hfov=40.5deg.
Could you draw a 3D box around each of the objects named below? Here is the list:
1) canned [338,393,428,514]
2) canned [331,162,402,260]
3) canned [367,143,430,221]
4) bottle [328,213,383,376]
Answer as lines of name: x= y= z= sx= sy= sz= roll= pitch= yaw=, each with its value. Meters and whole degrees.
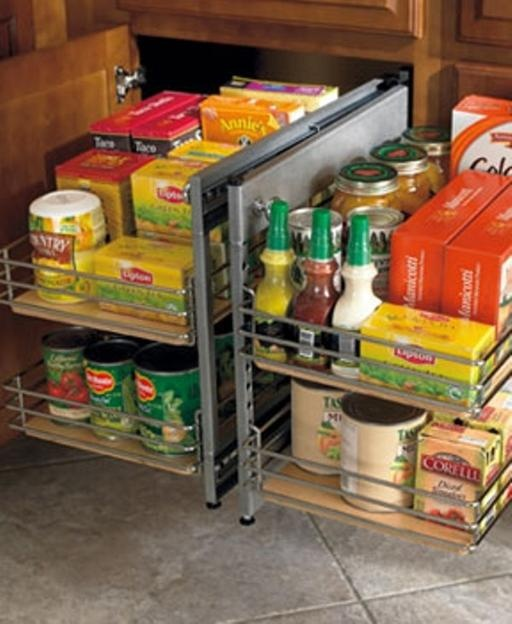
canned: x=0.171 y=0.191 z=0.968 sx=0.123 sy=0.107 sz=0.109 roll=0 pitch=11 yaw=-2
canned: x=0.139 y=-0.149 z=1.013 sx=0.124 sy=0.100 sz=0.112 roll=-1 pitch=32 yaw=3
canned: x=0.229 y=-0.200 z=1.087 sx=0.096 sy=0.103 sz=0.081 roll=-2 pitch=43 yaw=11
bottle: x=0.111 y=-0.021 z=0.862 sx=0.080 sy=0.179 sz=0.061 roll=5 pitch=11 yaw=7
